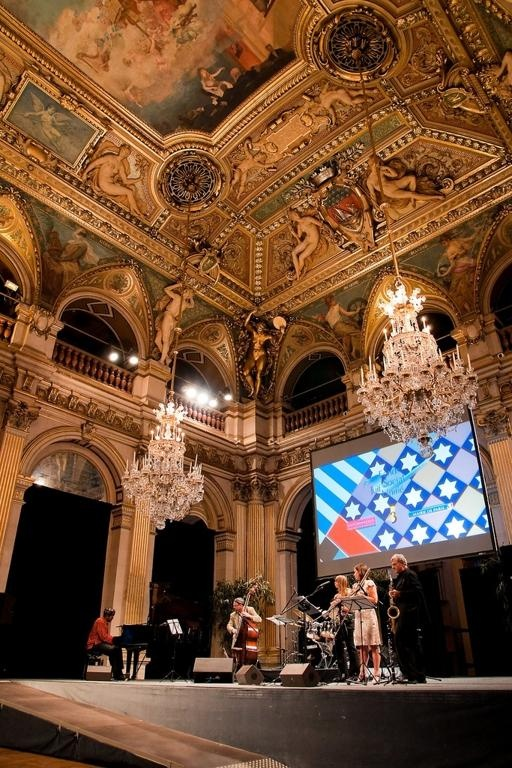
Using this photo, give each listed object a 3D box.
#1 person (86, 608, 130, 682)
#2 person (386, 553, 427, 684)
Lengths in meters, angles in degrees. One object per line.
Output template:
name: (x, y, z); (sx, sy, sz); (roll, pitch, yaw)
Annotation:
person: (-2.128, 3.685, 7.607); (0.516, 0.938, 1.176); (7, -26, -12)
person: (1.324, 2.024, 4.616); (0.283, 1.023, 0.583); (-7, -27, 15)
